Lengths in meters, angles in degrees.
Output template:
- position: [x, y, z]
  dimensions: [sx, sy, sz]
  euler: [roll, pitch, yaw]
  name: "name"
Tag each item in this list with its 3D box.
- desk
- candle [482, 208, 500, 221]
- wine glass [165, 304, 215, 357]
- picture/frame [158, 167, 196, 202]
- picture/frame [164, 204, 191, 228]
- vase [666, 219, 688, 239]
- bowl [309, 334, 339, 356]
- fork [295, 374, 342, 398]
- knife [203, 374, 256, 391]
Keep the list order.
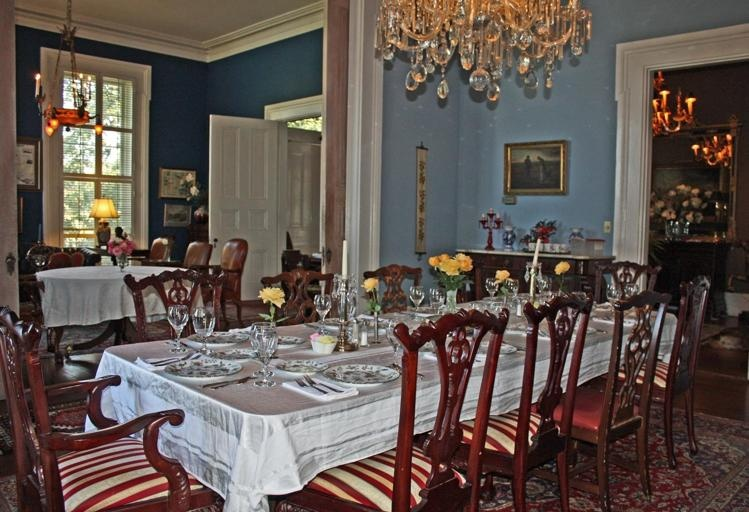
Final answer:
- position: [4.834, 0.463, 8.761]
  dimensions: [1.314, 1.332, 0.506]
  euler: [4, -14, 10]
  name: "desk"
- position: [1.432, -0.497, 6.801]
  dimensions: [0.165, 0.171, 0.172]
  euler: [1, -6, -10]
  name: "candle"
- position: [-1.003, 0.408, 2.987]
  dimensions: [0.266, 0.260, 0.123]
  euler: [0, -2, -7]
  name: "wine glass"
- position: [-3.571, -1.258, 9.805]
  dimensions: [0.615, 0.546, 0.046]
  euler: [1, -2, -34]
  name: "picture/frame"
- position: [-3.561, -0.706, 9.827]
  dimensions: [0.436, 0.438, 0.043]
  euler: [1, 0, -35]
  name: "picture/frame"
- position: [4.950, -0.419, 8.944]
  dimensions: [0.307, 0.364, 0.317]
  euler: [-1, 1, -11]
  name: "vase"
- position: [-0.280, 0.470, 2.942]
  dimensions: [0.104, 0.053, 0.107]
  euler: [3, 1, 0]
  name: "bowl"
- position: [-0.260, 0.578, 2.439]
  dimensions: [0.069, 0.036, 0.231]
  euler: [-9, 17, -35]
  name: "fork"
- position: [-0.672, 0.570, 2.468]
  dimensions: [0.287, 0.014, 0.061]
  euler: [-5, 29, -27]
  name: "knife"
